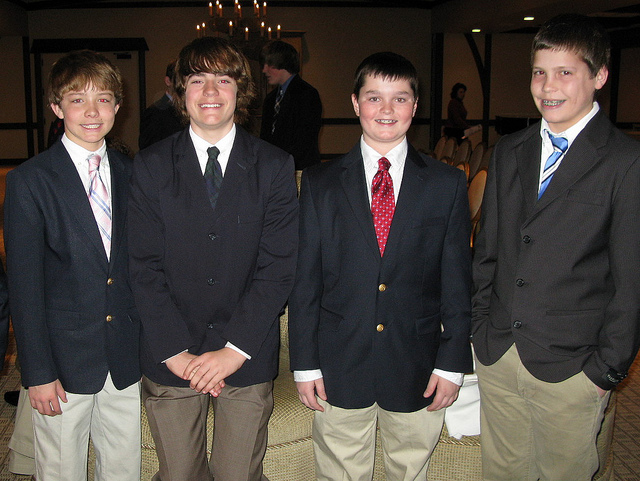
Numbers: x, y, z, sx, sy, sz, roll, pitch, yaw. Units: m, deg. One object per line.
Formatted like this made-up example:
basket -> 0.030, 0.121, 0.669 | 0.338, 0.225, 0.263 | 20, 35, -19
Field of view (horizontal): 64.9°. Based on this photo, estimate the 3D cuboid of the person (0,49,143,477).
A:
person -> -0.997, 0.128, 2.045 | 0.492, 1.770, 0.375 | -4, 11, -12

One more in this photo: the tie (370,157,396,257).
tie -> 0.245, -0.136, 1.969 | 0.101, 0.369, 0.116 | -1, 11, 4

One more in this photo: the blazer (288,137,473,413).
blazer -> 0.244, 0.135, 2.019 | 0.734, 1.031, 0.324 | -1, 11, 6

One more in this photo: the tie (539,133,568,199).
tie -> 0.881, -0.299, 1.901 | 0.032, 0.290, 0.066 | 13, 9, -12

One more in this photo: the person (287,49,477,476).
person -> 0.247, 0.129, 2.009 | 0.714, 1.726, 0.399 | 1, 11, 14

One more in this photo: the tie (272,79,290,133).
tie -> -0.385, -1.290, 4.734 | 0.069, 0.622, 0.074 | 22, -21, -21
